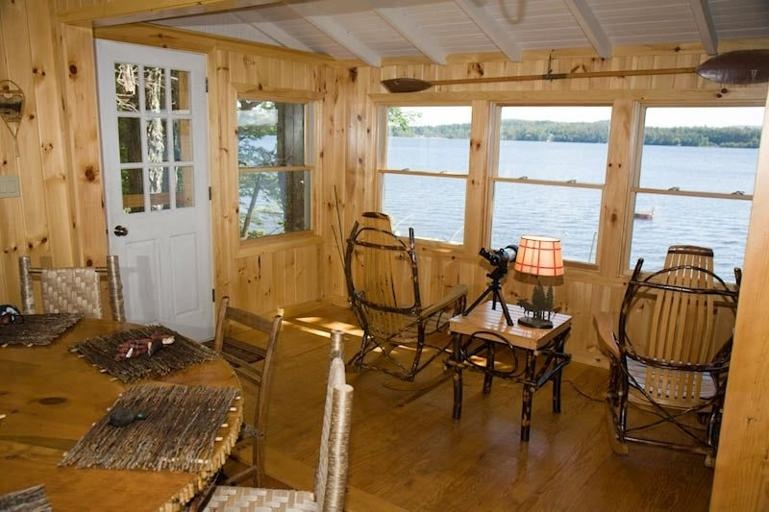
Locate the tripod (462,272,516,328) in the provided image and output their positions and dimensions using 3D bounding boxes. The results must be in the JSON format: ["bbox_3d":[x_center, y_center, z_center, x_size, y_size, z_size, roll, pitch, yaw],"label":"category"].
[{"bbox_3d":[0.849,0.285,4.178,0.345,0.396,0.342,-3,18,-29],"label":"tripod"}]

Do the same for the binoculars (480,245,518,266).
[{"bbox_3d":[0.902,-0.029,4.287,0.133,0.166,0.476,29,20,27],"label":"binoculars"}]
